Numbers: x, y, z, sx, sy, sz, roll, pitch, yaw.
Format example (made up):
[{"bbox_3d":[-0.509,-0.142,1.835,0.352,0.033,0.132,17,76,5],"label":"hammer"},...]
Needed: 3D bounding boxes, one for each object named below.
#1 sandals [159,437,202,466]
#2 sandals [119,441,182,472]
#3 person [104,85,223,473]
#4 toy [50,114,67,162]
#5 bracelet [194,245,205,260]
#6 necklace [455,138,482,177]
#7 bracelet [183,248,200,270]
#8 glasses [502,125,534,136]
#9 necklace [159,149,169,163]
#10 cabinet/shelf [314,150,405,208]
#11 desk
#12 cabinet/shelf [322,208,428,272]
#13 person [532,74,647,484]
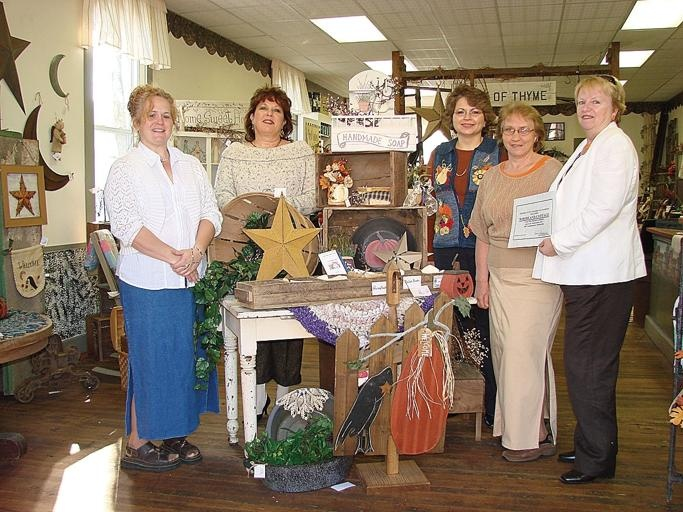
[{"bbox_3d":[-0.910,1.139,3.067,0.221,0.111,0.117,6,1,14],"label":"sandals"},{"bbox_3d":[-1.080,1.169,3.057,0.286,0.137,0.155,1,-1,3],"label":"sandals"},{"bbox_3d":[-0.952,0.138,2.941,0.593,2.169,0.310,-3,6,-25],"label":"person"},{"bbox_3d":[-2.804,-1.197,5.358,0.113,0.429,0.261,0,5,2],"label":"toy"},{"bbox_3d":[-0.764,-0.021,2.906,0.060,0.018,0.059,26,31,-33],"label":"bracelet"},{"bbox_3d":[0.865,-0.668,3.619,0.140,0.208,0.103,3,11,13],"label":"necklace"},{"bbox_3d":[-0.795,0.012,2.868,0.038,0.094,0.067,4,-4,7],"label":"bracelet"},{"bbox_3d":[1.015,-0.723,3.015,0.156,0.053,0.038,2,6,19],"label":"glasses"},{"bbox_3d":[-0.962,-0.566,2.934,0.016,0.063,0.063,-2,9,27],"label":"necklace"},{"bbox_3d":[0.202,-0.397,3.532,0.609,0.427,0.346,0,2,8],"label":"cabinet/shelf"},{"bbox_3d":[-0.543,0.701,3.263,0.750,1.165,0.845,-1,3,-18],"label":"desk"},{"bbox_3d":[0.217,-0.125,3.405,0.676,0.401,0.392,0,5,7],"label":"cabinet/shelf"},{"bbox_3d":[1.318,0.149,2.777,0.521,2.187,0.339,-1,5,-10],"label":"person"}]
